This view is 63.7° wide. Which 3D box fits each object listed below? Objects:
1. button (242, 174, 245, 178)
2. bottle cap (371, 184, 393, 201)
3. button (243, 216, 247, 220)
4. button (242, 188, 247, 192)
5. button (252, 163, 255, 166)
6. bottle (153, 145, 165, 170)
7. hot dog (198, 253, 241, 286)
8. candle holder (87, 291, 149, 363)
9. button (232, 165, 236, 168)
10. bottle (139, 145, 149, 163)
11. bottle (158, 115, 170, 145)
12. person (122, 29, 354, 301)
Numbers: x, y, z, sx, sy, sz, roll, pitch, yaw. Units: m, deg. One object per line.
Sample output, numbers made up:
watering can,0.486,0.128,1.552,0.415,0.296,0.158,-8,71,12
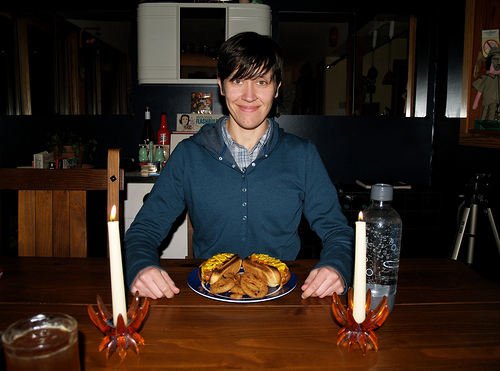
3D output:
button,-0.027,-0.043,1.758,0.013,0.015,0.006,4,7,17
bottle cap,0.365,0.018,1.109,0.049,0.037,0.050,1,-2,33
button,-0.020,0.138,1.750,0.015,0.017,0.004,0,7,-17
button,-0.024,0.016,1.748,0.013,0.015,0.004,2,6,6
button,0.016,-0.095,1.771,0.016,0.015,0.004,-8,-1,-11
bottle,-0.728,-0.233,3.238,0.088,0.185,0.298,0,6,-12
hot dog,-0.097,0.261,1.323,0.086,0.039,0.113,2,18,36
candle holder,-0.340,0.352,1.117,0.186,0.160,0.188,0,0,28
button,-0.070,-0.088,1.769,0.013,0.011,0.003,0,-7,-4
bottle,-0.852,-0.261,3.252,0.077,0.140,0.145,0,6,-16
bottle,-0.728,-0.478,3.430,0.098,0.250,0.111,0,6,-14
person,-0.045,0.024,1.720,1.026,1.194,0.782,0,19,-4
